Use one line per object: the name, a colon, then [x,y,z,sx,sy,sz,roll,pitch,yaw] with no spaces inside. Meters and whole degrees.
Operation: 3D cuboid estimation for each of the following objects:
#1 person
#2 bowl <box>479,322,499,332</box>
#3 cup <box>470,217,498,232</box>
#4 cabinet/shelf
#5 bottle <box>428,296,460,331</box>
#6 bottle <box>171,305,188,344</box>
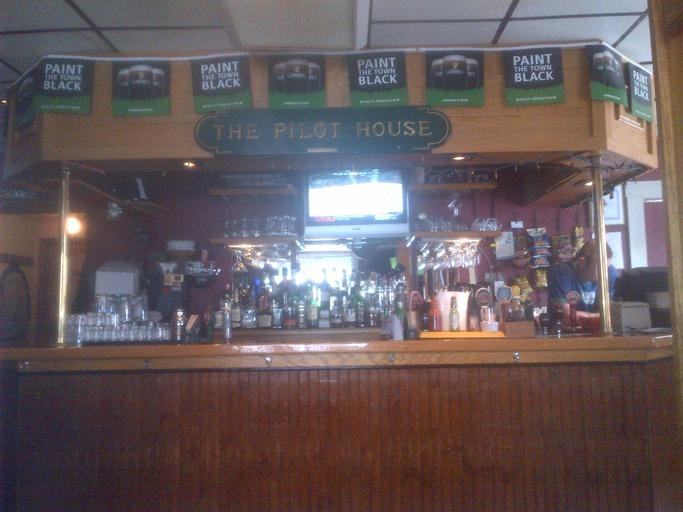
person: [2.180,0.332,6.178,0.496,0.884,0.519,-10,19,-7]
bowl: [1.117,0.531,5.221,0.079,0.059,0.091,3,-13,-6]
cup: [1.353,-0.296,6.578,0.181,0.092,0.250,2,4,9]
cabinet/shelf: [0.138,-0.449,6.640,2.618,0.622,0.332,-1,-7,0]
bottle: [0.782,0.442,5.348,0.244,0.280,0.128,-4,-7,17]
bottle: [-1.224,0.524,5.284,0.098,0.258,0.200,0,-7,-12]
